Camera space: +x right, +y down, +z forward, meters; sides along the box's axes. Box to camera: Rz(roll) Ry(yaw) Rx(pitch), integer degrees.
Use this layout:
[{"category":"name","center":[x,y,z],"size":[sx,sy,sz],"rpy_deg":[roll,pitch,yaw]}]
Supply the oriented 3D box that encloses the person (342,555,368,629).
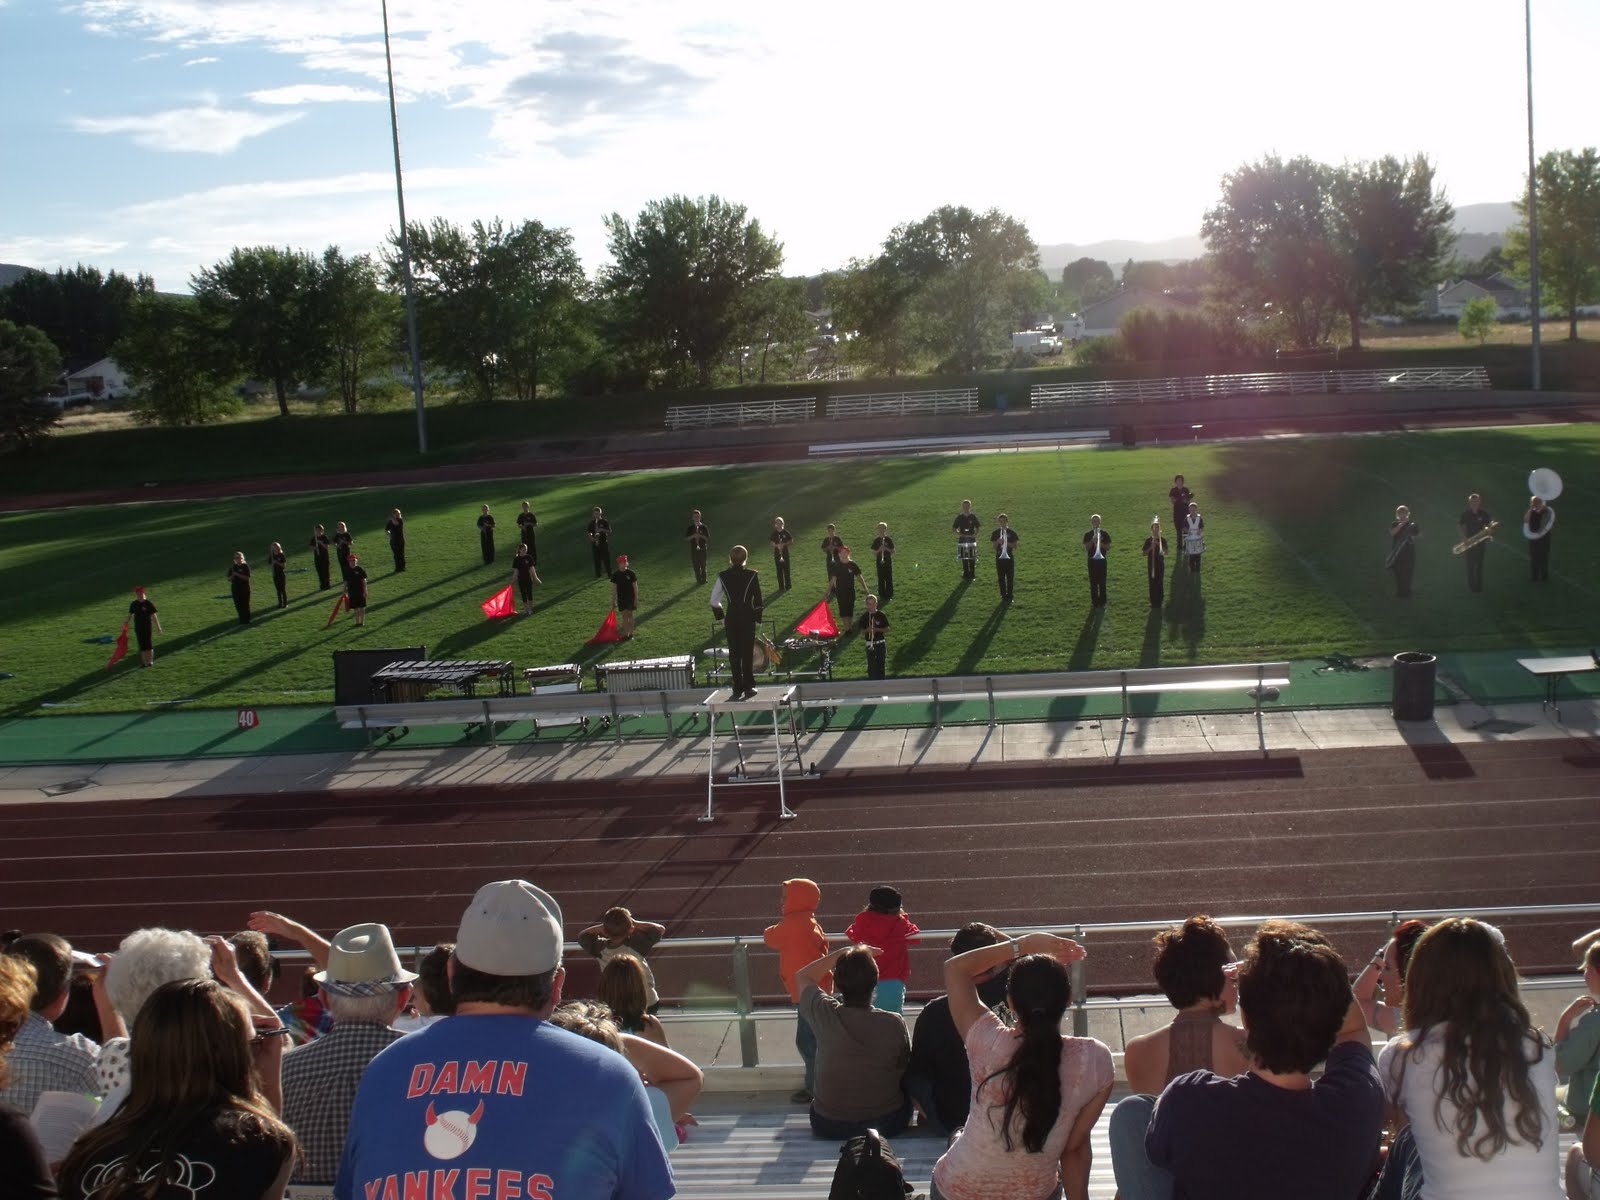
[{"category":"person","center":[-8.098,-0.169,29.436],"size":[0.388,1.100,1.056],"rpy_deg":[-8,13,-16]}]

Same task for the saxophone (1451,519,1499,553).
[{"category":"saxophone","center":[11.055,-1.001,26.677],"size":[0.352,0.353,1.291],"rpy_deg":[-9,-11,-5]}]

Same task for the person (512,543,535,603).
[{"category":"person","center":[-5.022,-0.363,29.413],"size":[0.354,0.980,0.970],"rpy_deg":[-7,13,-10]}]

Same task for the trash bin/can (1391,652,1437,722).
[{"category":"trash bin/can","center":[7.477,1.095,19.874],"size":[0.465,0.755,0.562],"rpy_deg":[-1,13,16]}]

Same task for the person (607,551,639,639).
[{"category":"person","center":[-2.921,-0.020,26.712],"size":[0.321,1.311,0.939],"rpy_deg":[-6,13,-7]}]

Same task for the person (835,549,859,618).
[{"category":"person","center":[0.777,-0.264,27.365],"size":[0.398,1.175,1.051],"rpy_deg":[-5,13,1]}]

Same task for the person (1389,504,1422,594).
[{"category":"person","center":[9.553,-0.773,25.860],"size":[0.373,1.460,1.115],"rpy_deg":[-1,13,18]}]

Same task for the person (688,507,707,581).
[{"category":"person","center":[-1.989,-1.013,30.904],"size":[0.272,1.363,1.040],"rpy_deg":[-6,13,-4]}]

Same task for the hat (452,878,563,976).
[{"category":"hat","center":[-1.060,1.175,6.073],"size":[0.425,0.257,0.656],"rpy_deg":[4,1,0]}]

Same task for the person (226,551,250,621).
[{"category":"person","center":[-10.359,-0.219,30.003],"size":[0.335,1.316,1.549],"rpy_deg":[-10,14,-20]}]
